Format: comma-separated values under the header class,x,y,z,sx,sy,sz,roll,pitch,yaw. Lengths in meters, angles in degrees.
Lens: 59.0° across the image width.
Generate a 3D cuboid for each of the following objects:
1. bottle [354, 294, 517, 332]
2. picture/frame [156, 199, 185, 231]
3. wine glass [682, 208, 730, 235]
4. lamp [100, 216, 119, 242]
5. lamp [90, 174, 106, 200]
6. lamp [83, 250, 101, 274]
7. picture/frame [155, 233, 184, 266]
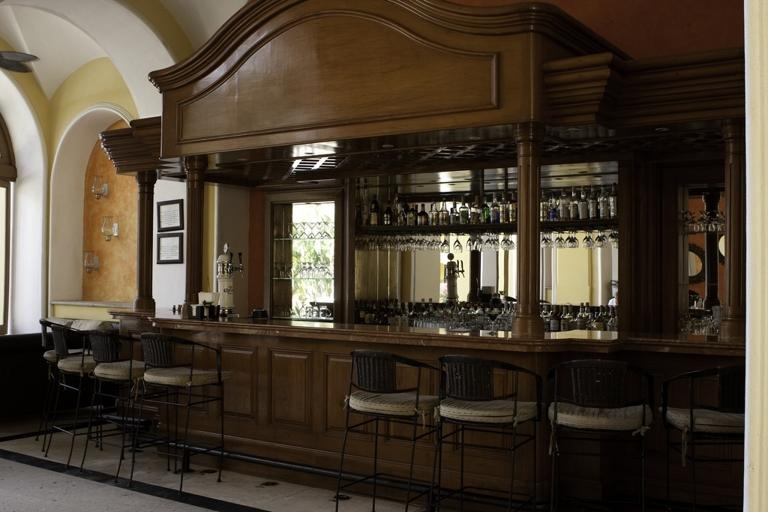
class,x,y,z,sx,sy,sz,roll,pitch,yaw
bottle,0.678,0.777,9.117,2.111,0.372,0.471,-2,-4,25
picture/frame,-3.109,-0.578,9.878,0.032,0.467,0.503,5,9,26
wine glass,3.568,-0.395,7.534,0.327,0.291,0.571,-4,-4,43
lamp,-4.741,-0.487,11.842,0.246,0.424,0.432,0,-3,-13
lamp,-5.061,-1.228,12.127,0.278,0.440,0.656,1,-4,-27
lamp,-5.288,0.105,12.190,0.358,0.383,0.216,-3,-4,34
picture/frame,-3.113,-0.106,9.874,0.028,0.461,0.476,6,6,30
